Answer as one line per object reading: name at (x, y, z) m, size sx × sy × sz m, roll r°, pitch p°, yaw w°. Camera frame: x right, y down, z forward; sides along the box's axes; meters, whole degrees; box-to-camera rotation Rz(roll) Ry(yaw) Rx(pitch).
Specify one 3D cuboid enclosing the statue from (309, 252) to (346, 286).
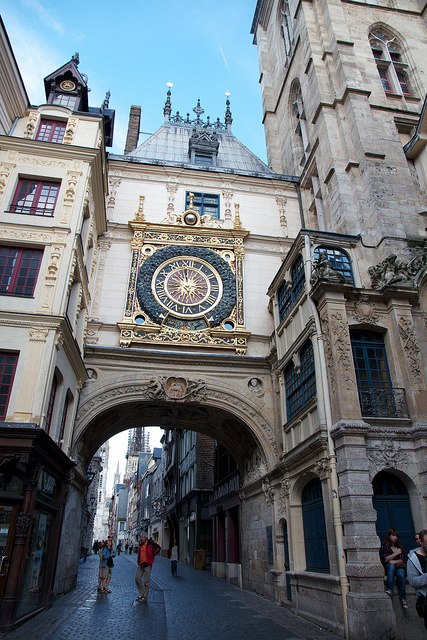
statue at (3.673, -1.508, 13.151) m, size 1.086 × 1.286 × 0.781 m, roll 8°, pitch -48°, yaw 4°

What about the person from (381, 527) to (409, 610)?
person at (3.936, 5.348, 9.119) m, size 0.662 × 1.466 × 0.399 m, roll 16°, pitch -32°, yaw -28°
